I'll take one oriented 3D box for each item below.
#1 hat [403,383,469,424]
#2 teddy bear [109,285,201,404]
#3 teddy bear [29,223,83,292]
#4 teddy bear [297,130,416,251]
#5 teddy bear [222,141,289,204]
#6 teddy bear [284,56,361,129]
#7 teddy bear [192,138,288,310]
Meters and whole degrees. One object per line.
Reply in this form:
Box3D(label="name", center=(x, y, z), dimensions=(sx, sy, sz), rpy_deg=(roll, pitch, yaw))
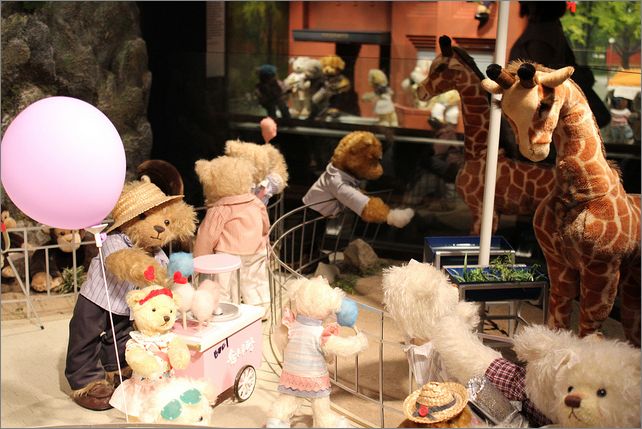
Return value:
Box3D(label="hat", center=(0.754, 1.210, 3.857), dimensions=(0.299, 0.106, 0.285), rpy_deg=(-24, 14, -40))
Box3D(label="teddy bear", center=(-1.429, 1.142, 4.960), dimensions=(0.644, 1.039, 0.400), rpy_deg=(-2, 12, -14))
Box3D(label="teddy bear", center=(-3.093, 0.443, 7.196), dimensions=(0.668, 0.992, 0.596), rpy_deg=(3, -10, -34))
Box3D(label="teddy bear", center=(0.406, -0.152, 7.093), dimensions=(1.037, 0.894, 1.490), rpy_deg=(-2, 31, -19))
Box3D(label="teddy bear", center=(-0.890, -0.615, 6.982), dimensions=(0.716, 0.874, 0.817), rpy_deg=(-8, 24, -25))
Box3D(label="teddy bear", center=(-0.039, -1.568, 7.673), dimensions=(0.770, 0.834, 0.827), rpy_deg=(4, 5, 28))
Box3D(label="teddy bear", center=(-0.849, 0.159, 6.593), dimensions=(1.057, 1.855, 0.567), rpy_deg=(-9, 16, -42))
